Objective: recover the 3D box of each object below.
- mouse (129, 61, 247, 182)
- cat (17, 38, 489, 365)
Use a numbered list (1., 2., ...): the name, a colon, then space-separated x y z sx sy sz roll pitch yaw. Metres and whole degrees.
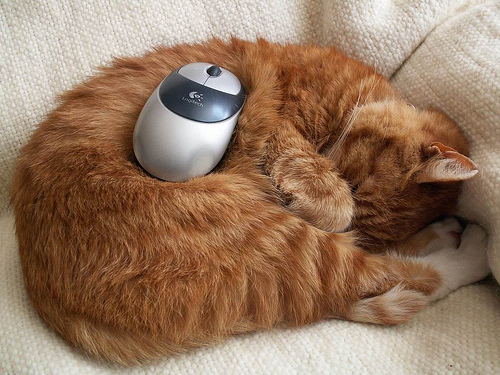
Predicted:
1. mouse: -0.150 -0.142 1.231 0.186 0.103 0.323 29 76 4
2. cat: -0.015 0.101 1.342 0.959 0.391 0.765 -7 66 -12
